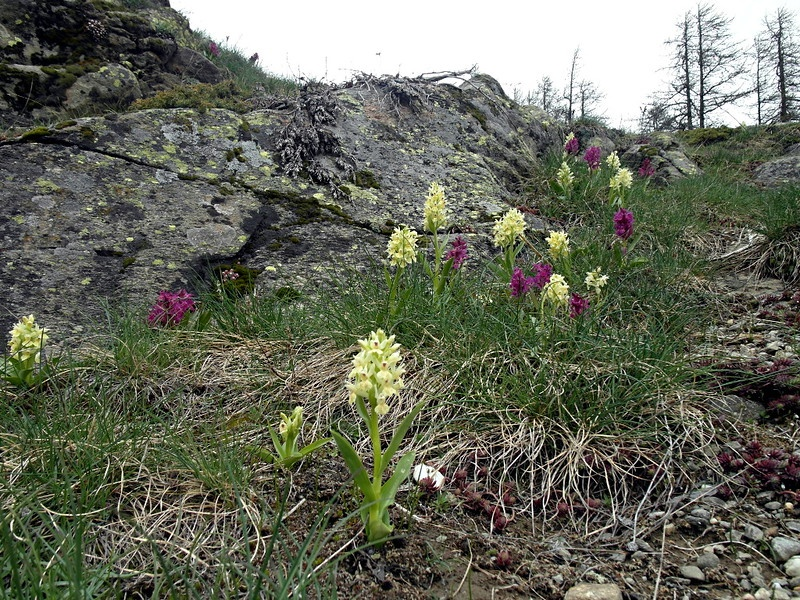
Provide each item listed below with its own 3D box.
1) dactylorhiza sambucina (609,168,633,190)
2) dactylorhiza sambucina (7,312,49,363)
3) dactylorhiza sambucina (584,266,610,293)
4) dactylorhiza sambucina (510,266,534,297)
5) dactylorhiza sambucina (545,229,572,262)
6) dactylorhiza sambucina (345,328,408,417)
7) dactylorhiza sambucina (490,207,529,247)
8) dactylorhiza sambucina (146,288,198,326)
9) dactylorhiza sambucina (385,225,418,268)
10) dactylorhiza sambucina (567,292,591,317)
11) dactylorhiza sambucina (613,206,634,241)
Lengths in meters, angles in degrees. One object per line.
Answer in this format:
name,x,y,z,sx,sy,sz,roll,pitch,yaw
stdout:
dactylorhiza sambucina,2.451,-1.341,6.487,0.188,0.248,0.488,4,16,24
dactylorhiza sambucina,-2.498,0.274,3.938,0.217,0.361,0.336,-12,17,-31
dactylorhiza sambucina,1.642,-0.170,4.904,0.224,0.208,0.210,-14,-2,0
dactylorhiza sambucina,0.897,-0.134,4.377,0.195,0.243,0.195,0,5,15
dactylorhiza sambucina,1.327,-0.447,4.907,0.157,0.284,0.355,1,15,14
dactylorhiza sambucina,-0.121,0.355,2.844,0.262,0.454,0.277,-3,15,-2
dactylorhiza sambucina,0.866,-0.568,4.682,0.210,0.356,0.345,0,15,10
dactylorhiza sambucina,-1.745,0.066,4.499,0.323,0.267,0.318,-11,28,-24
dactylorhiza sambucina,0.015,-0.386,4.345,0.210,0.364,0.315,-3,15,-1
dactylorhiza sambucina,1.297,0.034,4.271,0.130,0.129,0.273,-7,-28,4
dactylorhiza sambucina,2.006,-0.671,5.261,0.141,0.296,0.295,4,16,25
